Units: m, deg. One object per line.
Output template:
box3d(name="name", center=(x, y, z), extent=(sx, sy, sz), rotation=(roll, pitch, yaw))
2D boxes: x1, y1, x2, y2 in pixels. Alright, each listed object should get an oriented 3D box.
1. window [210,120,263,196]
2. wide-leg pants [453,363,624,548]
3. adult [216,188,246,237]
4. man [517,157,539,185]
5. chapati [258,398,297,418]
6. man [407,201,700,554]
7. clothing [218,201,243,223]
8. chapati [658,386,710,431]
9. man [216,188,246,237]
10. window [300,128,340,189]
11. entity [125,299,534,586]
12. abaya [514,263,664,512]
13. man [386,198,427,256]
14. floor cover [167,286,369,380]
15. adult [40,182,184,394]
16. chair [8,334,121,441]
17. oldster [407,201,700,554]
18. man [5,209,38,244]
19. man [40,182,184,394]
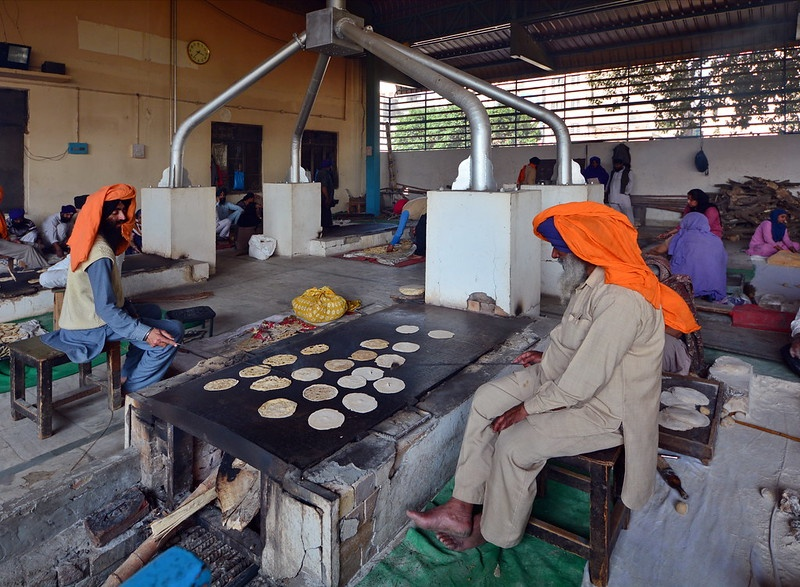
box3d(name="window", center=(-3.621, -3.049, 11.833), extent=(0.173, 1.494, 1.349), rotation=(8, 15, 37))
box3d(name="wide-leg pants", center=(0.780, 0.816, 3.123), extent=(0.809, 1.013, 1.088), rotation=(6, 13, 16))
box3d(name="adult", center=(-3.428, -1.618, 10.542), extent=(0.477, 0.981, 0.959), rotation=(-5, 12, -13))
box3d(name="man", center=(3.056, -2.923, 12.417), extent=(0.400, 0.635, 1.372), rotation=(1, 12, 15))
box3d(name="chapati", center=(-0.719, 0.676, 3.116), extent=(0.215, 0.043, 0.205), rotation=(-2, 11, -3))
box3d(name="man", center=(0.840, 0.440, 2.994), extent=(1.661, 1.868, 0.879), rotation=(-4, 9, -15))
box3d(name="clothing", center=(-3.413, -1.618, 10.542), extent=(0.304, 0.527, 0.403), rotation=(43, 54, 8))
box3d(name="chapati", center=(1.771, 0.713, 3.270), extent=(0.211, 0.032, 0.303), rotation=(-1, 23, 15))
box3d(name="man", center=(-3.432, -1.621, 10.559), extent=(0.477, 0.981, 0.980), rotation=(-5, 12, -13))
box3d(name="window", center=(-2.058, -3.480, 13.783), extent=(1.214, 1.510, 0.382), rotation=(-13, 17, -43))
box3d(name="entity", center=(-0.052, 0.694, 3.463), extent=(1.413, 0.507, 2.002), rotation=(10, 16, 34))
box3d(name="abaya", center=(1.054, 0.466, 3.602), extent=(1.081, 1.835, 1.349), rotation=(3, 6, 19))
box3d(name="man", center=(0.166, -1.040, 8.448), extent=(0.671, 0.894, 0.678), rotation=(2, -6, 8))
box3d(name="floor cover", center=(-1.284, 0.375, 4.669), extent=(1.351, 0.184, 0.769), rotation=(-22, 21, -38))
box3d(name="adult", center=(-2.077, 0.006, 3.881), extent=(0.958, 1.524, 0.902), rotation=(11, 14, 5))
box3d(name="chair", center=(-2.371, 0.595, 3.753), extent=(0.446, 0.535, 0.590), rotation=(15, 16, 29))
box3d(name="oldster", center=(0.856, 0.438, 3.004), extent=(1.597, 1.882, 0.858), rotation=(-3, 9, -10))
box3d(name="man", center=(-5.578, -0.992, 7.767), extent=(0.346, 0.524, 0.801), rotation=(-10, 14, -34))
box3d(name="man", center=(-2.119, 0.008, 3.902), extent=(0.965, 1.540, 0.868), rotation=(5, 12, -24))
